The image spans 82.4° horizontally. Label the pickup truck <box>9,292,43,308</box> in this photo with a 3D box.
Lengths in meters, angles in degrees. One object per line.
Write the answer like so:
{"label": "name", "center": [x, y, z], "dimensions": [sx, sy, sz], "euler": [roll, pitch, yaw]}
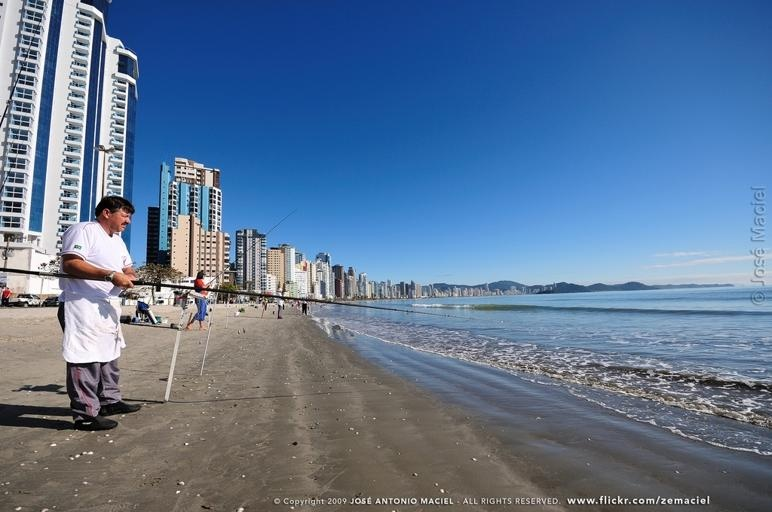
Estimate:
{"label": "pickup truck", "center": [-29.957, 3.684, 36.650], "dimensions": [1.568, 0.798, 2.214], "euler": [2, -8, -37]}
